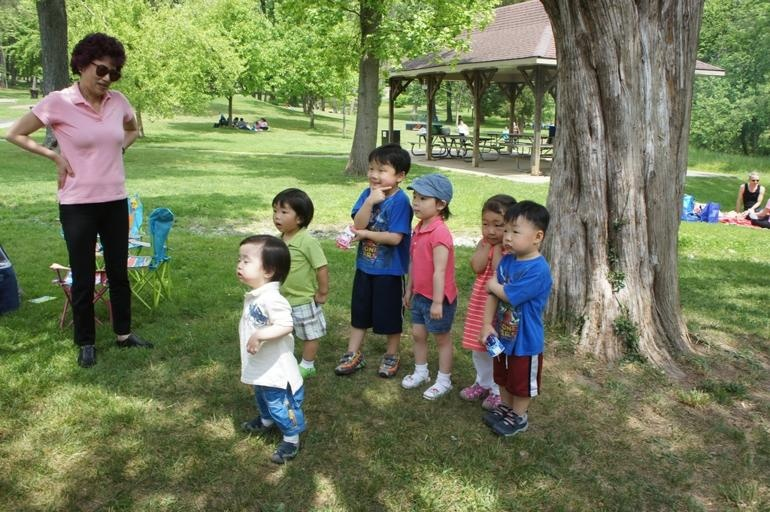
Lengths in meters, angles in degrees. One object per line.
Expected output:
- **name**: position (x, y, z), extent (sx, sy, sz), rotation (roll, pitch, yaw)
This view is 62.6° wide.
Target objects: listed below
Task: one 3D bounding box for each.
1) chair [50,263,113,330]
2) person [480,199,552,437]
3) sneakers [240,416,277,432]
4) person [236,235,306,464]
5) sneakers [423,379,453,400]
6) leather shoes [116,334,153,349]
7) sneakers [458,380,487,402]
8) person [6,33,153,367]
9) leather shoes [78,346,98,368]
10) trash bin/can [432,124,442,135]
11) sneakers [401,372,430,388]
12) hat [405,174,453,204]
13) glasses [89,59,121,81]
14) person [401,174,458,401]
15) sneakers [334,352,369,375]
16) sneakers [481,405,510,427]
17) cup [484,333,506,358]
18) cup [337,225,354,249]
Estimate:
- **chair**: position (-3.650, 0.340, 7.694), extent (0.742, 0.742, 0.628), rotation (-16, 29, -30)
- **person**: position (1.243, 0.586, 6.052), extent (0.588, 2.216, 0.534), rotation (6, 14, 15)
- **sneakers**: position (-1.195, 1.622, 6.086), extent (0.355, 0.162, 0.126), rotation (6, -26, -1)
- **person**: position (-1.031, 0.841, 5.737), extent (0.565, 2.009, 0.523), rotation (-1, 14, -14)
- **sneakers**: position (0.554, 1.383, 6.565), extent (0.324, 0.128, 0.134), rotation (-4, 3, -43)
- **leather shoes**: position (-2.792, 0.947, 7.119), extent (0.401, 0.156, 0.166), rotation (0, 3, -8)
- **sneakers**: position (0.919, 1.415, 6.570), extent (0.286, 0.120, 0.146), rotation (2, 9, -12)
- **person**: position (-3.128, -0.597, 6.712), extent (0.922, 3.347, 0.662), rotation (-7, 16, -33)
- **leather shoes**: position (-3.163, 1.057, 6.748), extent (0.143, 0.118, 0.270), rotation (-1, 28, -38)
- **trash bin/can**: position (2.207, -5.377, 26.950), extent (0.392, 0.390, 0.602), rotation (3, 14, 3)
- **sneakers**: position (0.323, 1.325, 6.733), extent (0.296, 0.125, 0.127), rotation (1, -2, -16)
- **hat**: position (0.472, -0.692, 6.422), extent (0.373, 0.187, 0.273), rotation (19, 7, -20)
- **glasses**: position (-2.864, -1.935, 6.487), extent (0.232, 0.095, 0.232), rotation (21, 4, 40)
- **person**: position (0.468, 0.302, 6.522), extent (0.547, 2.248, 0.611), rotation (-6, 15, -29)
- **sneakers**: position (-0.366, 1.154, 6.874), extent (0.166, 0.160, 0.356), rotation (-6, 1, 36)
- **sneakers**: position (1.077, 1.554, 6.248), extent (0.351, 0.146, 0.124), rotation (-11, 21, -39)
- **cup**: position (1.037, 0.849, 5.955), extent (0.064, 0.139, 0.233), rotation (19, 40, -40)
- **cup**: position (-0.403, -0.202, 6.622), extent (0.172, 0.252, 0.342), rotation (1, 14, -5)
